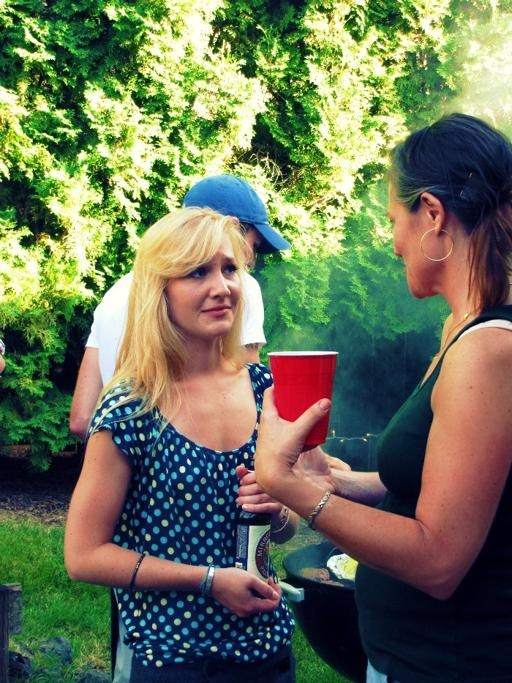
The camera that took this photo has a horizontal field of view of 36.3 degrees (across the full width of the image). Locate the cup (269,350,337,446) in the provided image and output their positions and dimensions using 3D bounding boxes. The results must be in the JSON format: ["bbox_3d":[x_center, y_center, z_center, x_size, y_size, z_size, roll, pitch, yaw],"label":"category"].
[{"bbox_3d":[0.108,0.104,1.708,0.169,0.169,0.153,-3,8,-4],"label":"cup"}]

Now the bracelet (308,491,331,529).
[{"bbox_3d":[0.117,0.329,1.541,0.017,0.062,0.068,29,16,23],"label":"bracelet"}]

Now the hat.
[{"bbox_3d":[-0.083,-0.555,3.092,0.332,0.238,0.475,-18,-2,4],"label":"hat"}]
